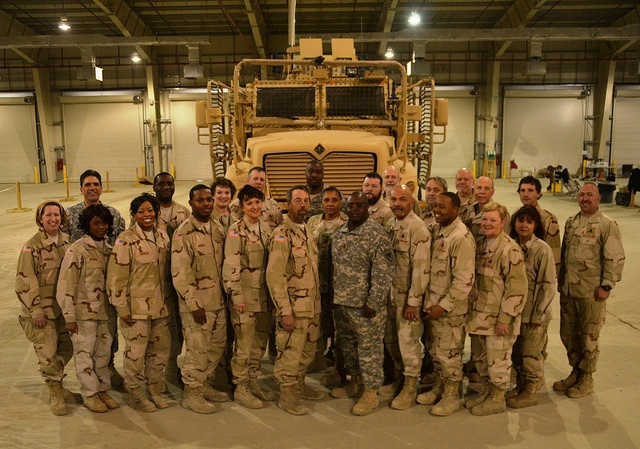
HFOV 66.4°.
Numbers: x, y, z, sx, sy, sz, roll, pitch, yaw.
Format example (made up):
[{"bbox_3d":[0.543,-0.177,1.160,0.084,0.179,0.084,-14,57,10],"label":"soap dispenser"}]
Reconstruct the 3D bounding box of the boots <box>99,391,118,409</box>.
[{"bbox_3d":[-2.487,2.057,5.725,0.329,0.122,0.111,11,9,30],"label":"boots"}]

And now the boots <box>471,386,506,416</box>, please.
[{"bbox_3d":[1.943,2.014,5.649,0.480,0.322,0.163,1,-2,-16],"label":"boots"}]

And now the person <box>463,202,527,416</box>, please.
[{"bbox_3d":[2.035,0.967,5.636,0.632,2.358,0.901,3,15,16],"label":"person"}]

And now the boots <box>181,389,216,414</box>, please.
[{"bbox_3d":[-1.413,2.011,5.666,0.428,0.261,0.183,8,16,32],"label":"boots"}]

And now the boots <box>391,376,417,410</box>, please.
[{"bbox_3d":[1.009,1.957,5.768,0.186,0.331,0.495,9,6,42],"label":"boots"}]

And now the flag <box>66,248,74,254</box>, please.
[{"bbox_3d":[-2.837,0.306,5.533,0.084,0.060,0.062,7,15,30],"label":"flag"}]

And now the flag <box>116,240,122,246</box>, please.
[{"bbox_3d":[-2.278,0.203,5.549,0.093,0.071,0.036,1,14,6],"label":"flag"}]

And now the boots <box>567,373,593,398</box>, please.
[{"bbox_3d":[3.244,1.943,5.919,0.485,0.282,0.167,0,2,-28],"label":"boots"}]

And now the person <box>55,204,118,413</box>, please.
[{"bbox_3d":[-2.587,0.958,5.680,0.561,2.312,0.674,8,16,30],"label":"person"}]

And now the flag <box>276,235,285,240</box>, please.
[{"bbox_3d":[-0.465,0.157,5.648,0.109,0.058,0.047,-2,13,-5],"label":"flag"}]

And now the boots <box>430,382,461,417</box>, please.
[{"bbox_3d":[1.449,1.982,5.648,0.498,0.334,0.189,-1,-5,-41],"label":"boots"}]

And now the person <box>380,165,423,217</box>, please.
[{"bbox_3d":[1.166,-0.548,7.432,0.878,0.751,0.653,-9,11,-40],"label":"person"}]

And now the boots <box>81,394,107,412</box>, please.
[{"bbox_3d":[-2.597,2.056,5.642,0.371,0.148,0.131,9,6,24],"label":"boots"}]

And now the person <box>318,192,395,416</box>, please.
[{"bbox_3d":[0.525,0.880,5.683,0.676,2.444,0.850,-5,15,-16],"label":"person"}]

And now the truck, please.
[{"bbox_3d":[0.083,-2.176,10.256,3.459,2.526,4.329,0,0,-1],"label":"truck"}]

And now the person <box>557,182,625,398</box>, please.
[{"bbox_3d":[3.292,0.965,6.039,0.687,2.089,1.053,6,16,27],"label":"person"}]

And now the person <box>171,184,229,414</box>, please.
[{"bbox_3d":[-1.420,0.847,5.698,0.566,2.523,0.877,-1,14,1],"label":"person"}]

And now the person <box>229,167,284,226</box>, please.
[{"bbox_3d":[-0.866,-0.352,7.046,0.670,0.521,0.952,0,-5,0],"label":"person"}]

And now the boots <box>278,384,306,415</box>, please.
[{"bbox_3d":[-0.325,1.994,5.655,0.302,0.299,0.346,-4,14,-14],"label":"boots"}]

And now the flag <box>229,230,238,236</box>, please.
[{"bbox_3d":[-1.006,0.103,5.676,0.109,0.068,0.048,-3,14,-10],"label":"flag"}]
